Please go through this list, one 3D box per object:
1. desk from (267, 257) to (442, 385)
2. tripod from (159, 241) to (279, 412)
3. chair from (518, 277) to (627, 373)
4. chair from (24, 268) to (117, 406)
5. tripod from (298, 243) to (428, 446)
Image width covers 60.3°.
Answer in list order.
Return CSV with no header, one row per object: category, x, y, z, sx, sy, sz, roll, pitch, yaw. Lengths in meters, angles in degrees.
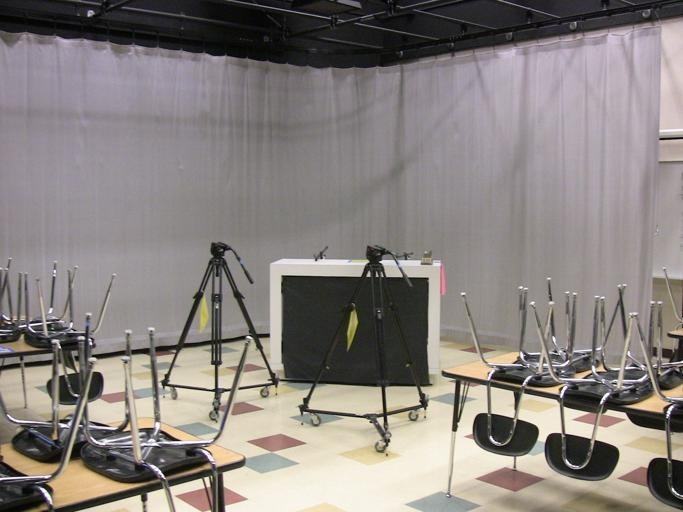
desk,0.154,0.681,6.013,1.282,0.993,0.460,1,2,7
tripod,-1.496,0.816,6.816,1.586,2.233,1.338,-2,3,-32
chair,2.155,0.604,5.360,0.924,0.648,0.644,-4,5,-43
chair,-2.289,0.608,4.812,0.693,1.100,0.628,18,-10,-34
tripod,0.213,0.930,5.771,1.470,2.028,1.269,-1,6,-9
